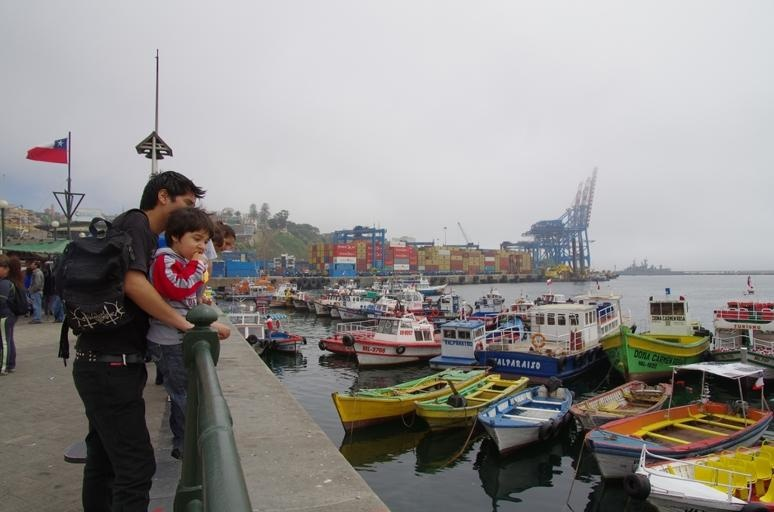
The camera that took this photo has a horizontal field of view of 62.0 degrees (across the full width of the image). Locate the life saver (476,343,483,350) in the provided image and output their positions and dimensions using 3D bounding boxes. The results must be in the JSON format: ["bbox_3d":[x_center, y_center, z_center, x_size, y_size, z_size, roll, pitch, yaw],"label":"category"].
[{"bbox_3d":[3.260,3.229,22.743,0.197,0.309,0.330,6,-25,-2],"label":"life saver"}]

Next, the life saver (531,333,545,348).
[{"bbox_3d":[5.253,2.962,22.257,0.130,0.444,0.469,22,-35,-30],"label":"life saver"}]
